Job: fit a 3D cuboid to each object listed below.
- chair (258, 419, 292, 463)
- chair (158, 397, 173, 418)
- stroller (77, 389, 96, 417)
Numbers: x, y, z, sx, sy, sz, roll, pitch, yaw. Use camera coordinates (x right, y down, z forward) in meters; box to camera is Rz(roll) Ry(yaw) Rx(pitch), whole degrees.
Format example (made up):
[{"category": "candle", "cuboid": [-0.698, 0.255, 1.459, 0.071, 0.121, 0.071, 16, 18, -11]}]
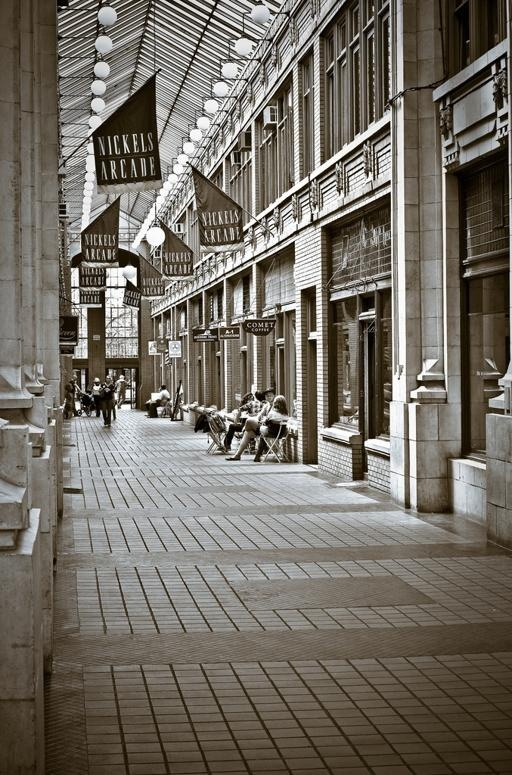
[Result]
[{"category": "chair", "cuboid": [0.327, 1.163, 18.841, 0.572, 1.346, 0.641, 0, -1, -4]}, {"category": "chair", "cuboid": [-4.584, 1.039, 45.266, 0.599, 1.316, 0.748, 1, -2, -13]}, {"category": "stroller", "cuboid": [-9.185, 0.903, 48.493, 0.604, 1.648, 1.140, 2, -21, -2]}]
